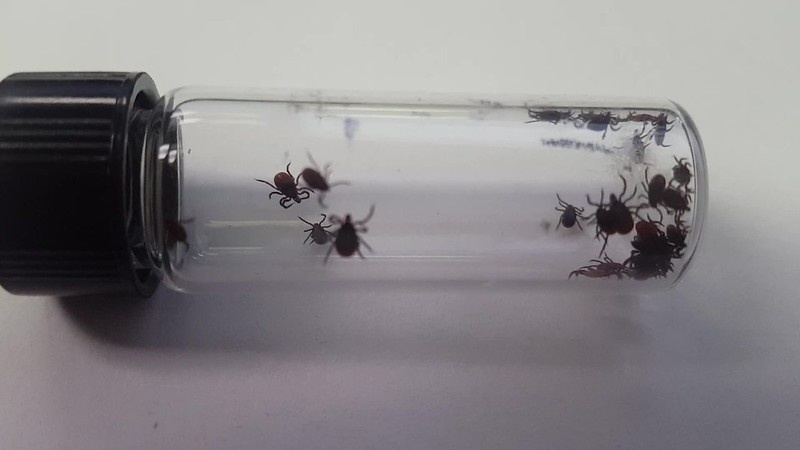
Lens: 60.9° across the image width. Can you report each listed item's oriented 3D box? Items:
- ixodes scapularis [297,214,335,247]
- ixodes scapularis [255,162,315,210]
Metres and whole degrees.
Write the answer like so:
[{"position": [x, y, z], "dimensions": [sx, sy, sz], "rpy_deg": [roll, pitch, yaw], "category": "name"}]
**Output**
[{"position": [-0.190, 0.011, 1.580], "dimensions": [0.070, 0.048, 0.057], "rpy_deg": [-9, -37, 4], "category": "ixodes scapularis"}, {"position": [-0.262, -0.090, 1.571], "dimensions": [0.107, 0.079, 0.066], "rpy_deg": [-17, -39, 14], "category": "ixodes scapularis"}]
